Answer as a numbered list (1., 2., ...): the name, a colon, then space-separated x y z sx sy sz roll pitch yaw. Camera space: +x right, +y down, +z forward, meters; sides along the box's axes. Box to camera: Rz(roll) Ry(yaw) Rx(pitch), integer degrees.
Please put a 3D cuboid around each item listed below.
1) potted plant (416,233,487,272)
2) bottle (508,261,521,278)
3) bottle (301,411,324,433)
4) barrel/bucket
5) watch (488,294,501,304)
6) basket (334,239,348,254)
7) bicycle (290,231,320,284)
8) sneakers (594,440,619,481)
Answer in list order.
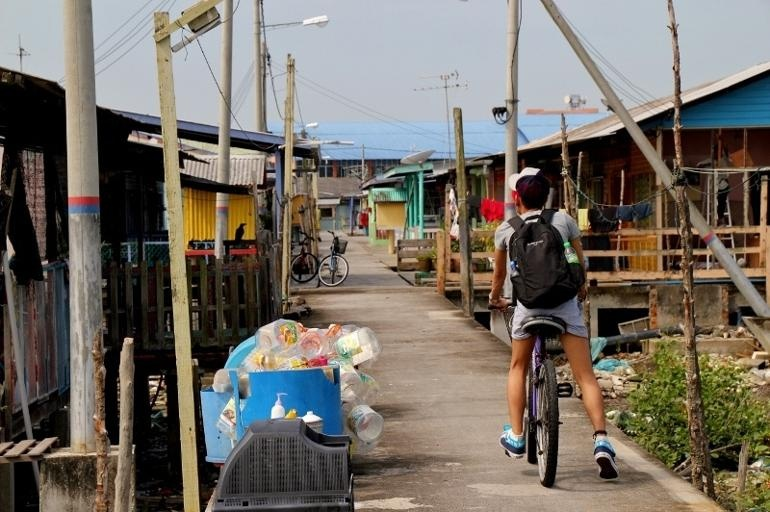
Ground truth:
1. potted plant: 1.835 -0.119 29.645 1.306 0.772 0.857 -1 0 -30
2. bottle: 1.578 0.185 15.264 0.083 0.187 0.198 0 24 0
3. bottle: -0.856 1.962 14.710 0.214 0.257 0.238 -1 -5 -6
4. barrel/bucket: -0.899 1.596 15.591 1.337 1.002 1.931 -2 0 14
5. watch: 1.372 0.542 15.757 0.112 0.096 0.103 6 4 34
6. basket: -1.094 -0.203 30.759 0.348 0.424 0.438 3 7 -7
7. bicycle: -2.108 0.157 31.927 0.835 0.774 1.461 -6 -4 -8
8. sneakers: 2.686 2.497 15.081 0.201 0.269 0.615 -5 -33 11
